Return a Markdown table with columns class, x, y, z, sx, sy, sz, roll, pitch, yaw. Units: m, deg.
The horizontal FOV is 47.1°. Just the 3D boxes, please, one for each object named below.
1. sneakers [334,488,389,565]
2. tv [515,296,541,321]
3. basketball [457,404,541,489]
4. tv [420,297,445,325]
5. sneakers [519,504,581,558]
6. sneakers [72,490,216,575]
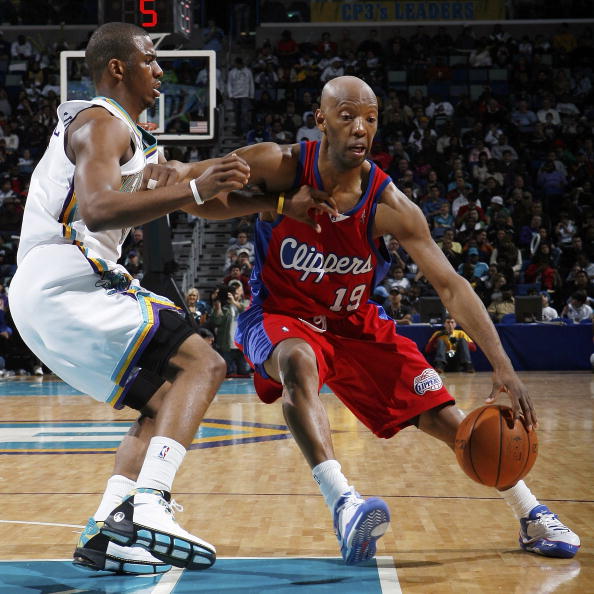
| class | x | y | z | sx | sy | sz | roll | pitch | yaw |
| --- | --- | --- | --- | --- | --- | --- | --- | --- | --- |
| sneakers | 0.155 | 0.638 | 1.878 | 0.105 | 0.263 | 0.126 | 12 | 42 | -24 |
| tv | 3.036 | 0.143 | 9.147 | 0.458 | 0.334 | 0.339 | 0 | 4 | 12 |
| basketball | 0.558 | 0.451 | 2.123 | 0.306 | 0.278 | 0.266 | -1 | 1 | -4 |
| tv | 1.690 | 0.178 | 8.533 | 0.462 | 0.350 | 0.132 | 1 | 5 | 5 |
| sneakers | 0.749 | 0.714 | 2.052 | 0.100 | 0.101 | 0.199 | 1 | -8 | -31 |
| sneakers | -0.386 | 0.642 | 1.791 | 0.297 | 0.111 | 0.322 | 18 | -32 | -30 |
